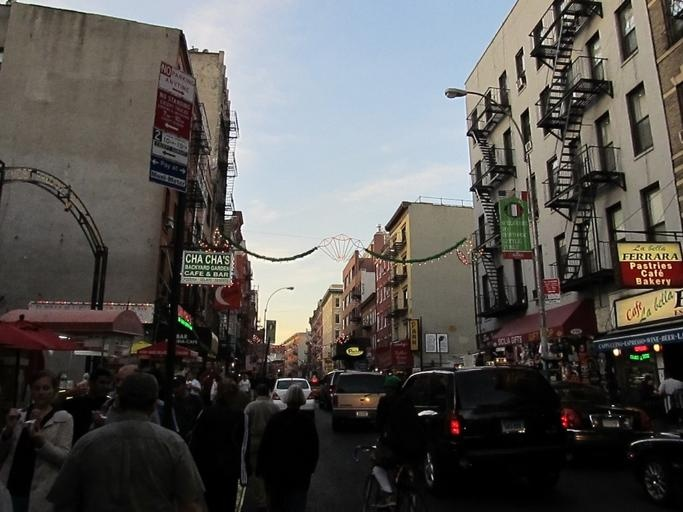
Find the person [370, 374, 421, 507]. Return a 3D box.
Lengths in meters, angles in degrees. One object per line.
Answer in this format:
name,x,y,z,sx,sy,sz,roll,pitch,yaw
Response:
person,0.884,2.932,9.058,0.879,2.034,0.618,-8,-14,25

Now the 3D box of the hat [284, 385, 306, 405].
hat,-0.724,2.201,8.954,0.284,0.319,0.309,4,5,5

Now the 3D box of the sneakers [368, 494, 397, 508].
sneakers,0.606,3.834,8.884,0.571,0.258,0.195,-20,-30,39
